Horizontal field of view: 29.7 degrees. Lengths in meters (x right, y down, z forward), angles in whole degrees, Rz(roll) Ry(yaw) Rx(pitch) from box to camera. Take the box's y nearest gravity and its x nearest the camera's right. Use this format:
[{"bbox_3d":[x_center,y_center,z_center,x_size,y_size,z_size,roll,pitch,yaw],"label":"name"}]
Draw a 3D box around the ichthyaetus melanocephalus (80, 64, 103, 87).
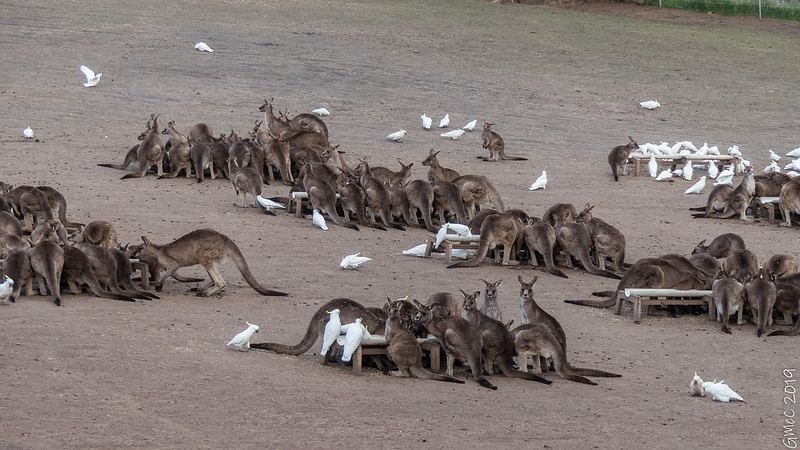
[{"bbox_3d":[-12.392,-5.968,60.377,0.690,0.444,1.097,-32,20,-10],"label":"ichthyaetus melanocephalus"}]
